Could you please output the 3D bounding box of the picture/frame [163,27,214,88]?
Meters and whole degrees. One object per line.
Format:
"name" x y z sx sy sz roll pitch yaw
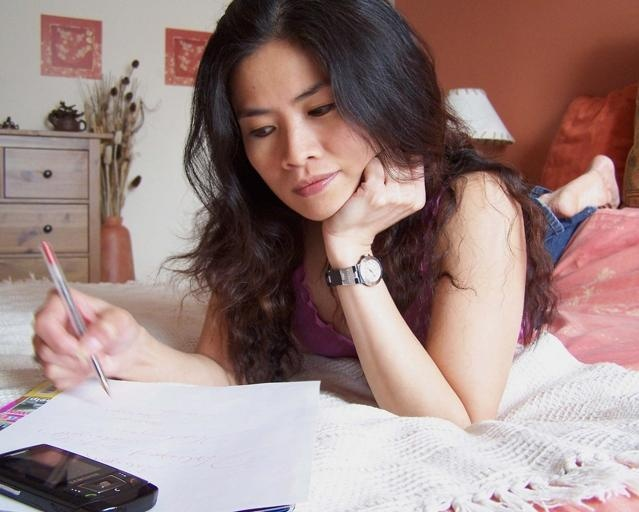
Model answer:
"picture/frame" -0.896 -1.321 3.552 0.004 0.362 0.354 24 24 10

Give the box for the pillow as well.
"pillow" 1.171 -0.491 2.266 0.129 0.433 0.410 4 -1 -3

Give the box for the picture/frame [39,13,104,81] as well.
"picture/frame" -1.590 -1.335 3.350 0.395 0.441 0.036 -2 8 -16

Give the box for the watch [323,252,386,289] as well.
"watch" 0.057 0.031 0.898 0.077 0.053 0.077 -5 7 43
